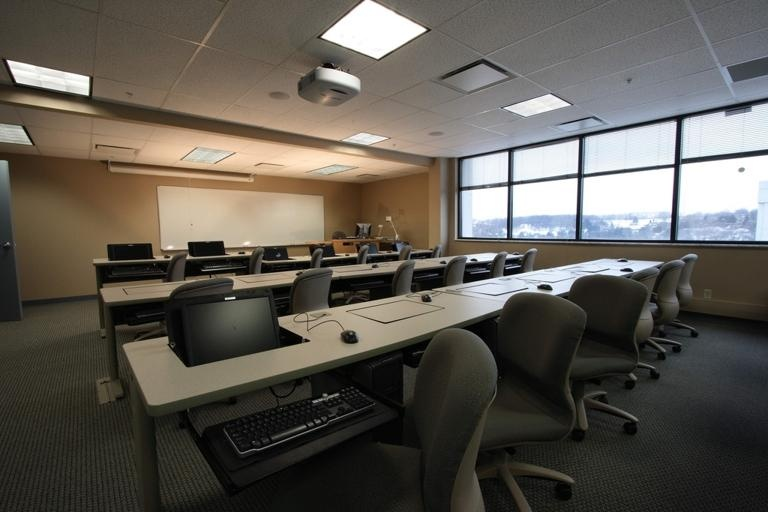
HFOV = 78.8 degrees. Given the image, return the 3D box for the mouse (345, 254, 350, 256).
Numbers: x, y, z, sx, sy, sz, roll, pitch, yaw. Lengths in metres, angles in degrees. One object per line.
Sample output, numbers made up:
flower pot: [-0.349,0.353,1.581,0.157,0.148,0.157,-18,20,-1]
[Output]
mouse: [-0.743,-0.032,9.386,0.076,0.018,0.079,-2,5,-30]

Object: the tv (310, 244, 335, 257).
tv: [-1.192,-0.116,9.005,0.378,0.234,0.391,1,2,13]

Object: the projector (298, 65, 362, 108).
projector: [-0.663,-2.034,5.615,0.527,0.320,0.535,-3,5,-41]

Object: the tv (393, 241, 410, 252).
tv: [0.380,-0.217,10.216,0.401,0.208,0.265,4,-4,-41]

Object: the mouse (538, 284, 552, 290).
mouse: [1.783,0.340,5.209,0.101,0.034,0.061,5,4,26]

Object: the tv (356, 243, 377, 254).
tv: [-0.253,-0.159,9.135,0.273,0.160,0.347,2,3,35]

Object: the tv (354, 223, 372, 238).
tv: [-0.527,-0.647,11.830,0.442,0.387,0.219,-4,16,-24]
